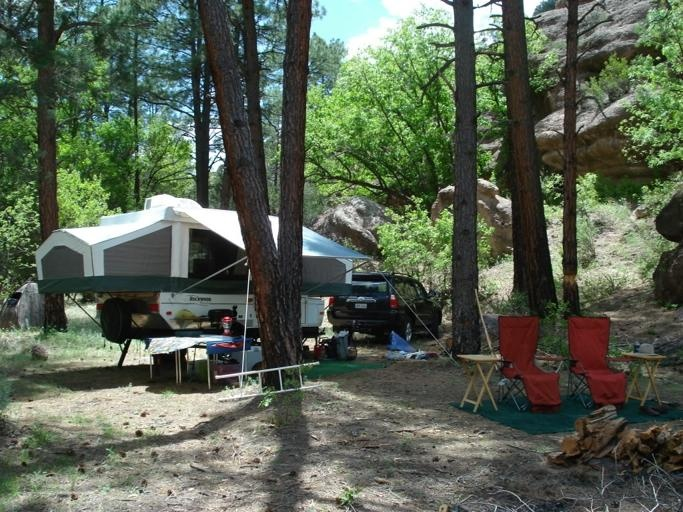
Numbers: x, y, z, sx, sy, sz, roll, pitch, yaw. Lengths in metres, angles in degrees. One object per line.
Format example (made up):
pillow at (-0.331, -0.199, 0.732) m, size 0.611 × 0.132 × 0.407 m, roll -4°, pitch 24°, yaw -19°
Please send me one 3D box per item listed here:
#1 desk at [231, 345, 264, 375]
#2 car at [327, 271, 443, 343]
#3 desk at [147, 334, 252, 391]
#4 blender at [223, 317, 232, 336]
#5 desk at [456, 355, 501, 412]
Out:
desk at (-1.809, 1.966, 11.625) m, size 0.636 × 0.572 × 1.019 m, roll -1°, pitch -3°, yaw 7°
car at (1.208, 1.304, 16.537) m, size 1.719 × 1.149 × 3.297 m, roll -1°, pitch -1°, yaw 31°
desk at (-2.942, 2.003, 12.094) m, size 1.709 × 1.119 × 1.985 m, roll -4°, pitch 7°, yaw -22°
blender at (-2.243, 1.362, 11.991) m, size 0.170 × 0.406 × 0.381 m, roll -3°, pitch 7°, yaw -6°
desk at (2.386, 2.218, 10.639) m, size 0.863 × 0.934 × 0.903 m, roll 4°, pitch -7°, yaw -20°
